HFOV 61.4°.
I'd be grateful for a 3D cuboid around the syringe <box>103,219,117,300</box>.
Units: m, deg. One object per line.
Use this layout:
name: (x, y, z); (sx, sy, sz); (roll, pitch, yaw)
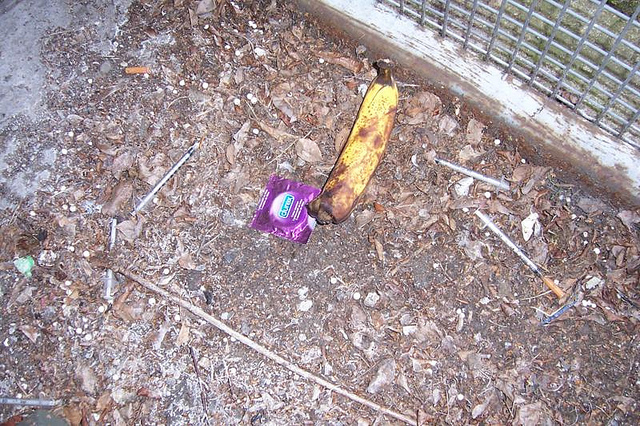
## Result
syringe: (-1.769, 0.387, 4.595); (0.074, 0.082, 0.651); (3, 86, 8)
